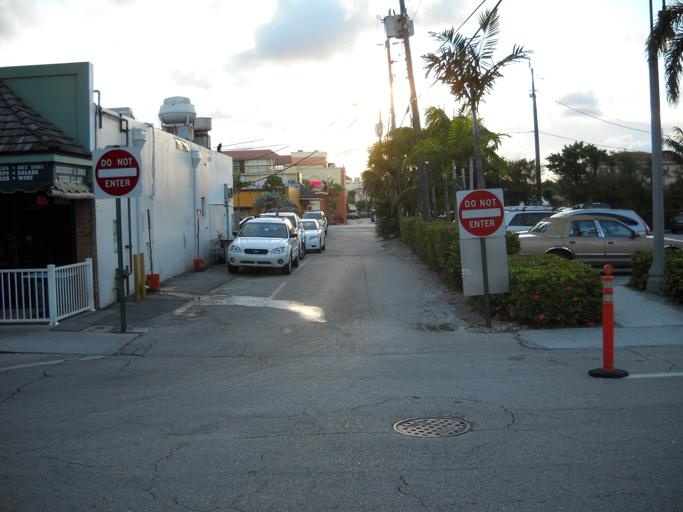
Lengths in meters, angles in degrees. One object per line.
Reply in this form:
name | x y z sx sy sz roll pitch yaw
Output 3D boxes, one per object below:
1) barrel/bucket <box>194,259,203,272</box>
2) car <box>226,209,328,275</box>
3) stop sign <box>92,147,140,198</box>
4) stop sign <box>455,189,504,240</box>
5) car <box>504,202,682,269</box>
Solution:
barrel/bucket | -4.909 0.349 21.052 0.358 0.493 0.320 0 -5 -3
car | -2.665 -0.422 22.082 2.121 1.857 4.068 -1 6 3
stop sign | -4.111 -1.547 11.184 0.816 1.001 0.045 0 -1 0
stop sign | 2.629 -0.774 11.459 0.825 0.976 0.038 -1 2 -2
car | 7.471 -0.428 18.174 4.150 1.812 2.606 1 6 17
